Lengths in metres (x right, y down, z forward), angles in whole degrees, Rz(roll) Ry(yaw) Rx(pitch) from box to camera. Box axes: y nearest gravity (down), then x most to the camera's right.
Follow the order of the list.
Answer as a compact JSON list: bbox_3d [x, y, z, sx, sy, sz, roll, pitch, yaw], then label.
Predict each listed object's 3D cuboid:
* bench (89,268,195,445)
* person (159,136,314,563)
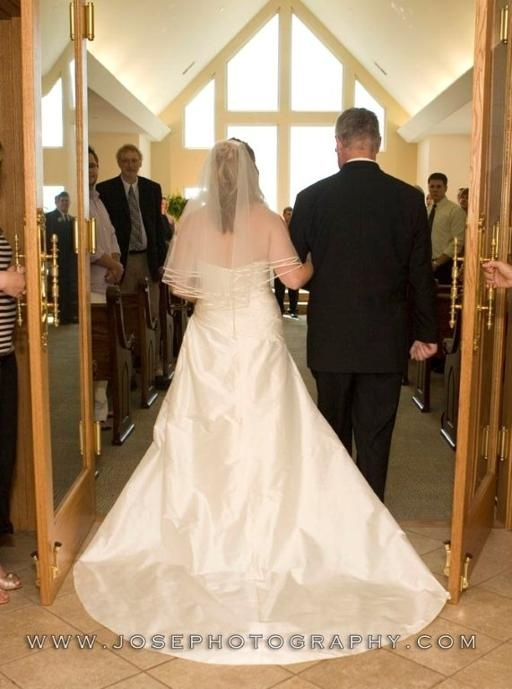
[{"bbox_3d":[-0.852,0.064,3.851,0.992,0.964,0.453,5,16,19],"label":"bench"},{"bbox_3d":[-0.108,-0.027,2.068,0.583,1.462,0.362,0,1,7],"label":"person"}]
